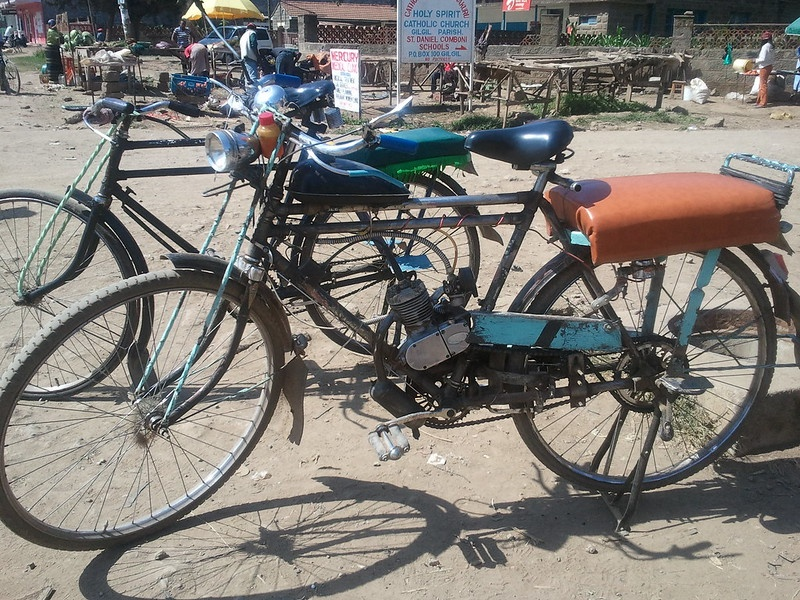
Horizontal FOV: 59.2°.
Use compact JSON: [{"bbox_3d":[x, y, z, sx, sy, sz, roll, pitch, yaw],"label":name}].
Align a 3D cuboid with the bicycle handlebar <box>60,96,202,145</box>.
[{"bbox_3d":[-1.381,-0.932,3.597,0.610,0.138,0.316,-3,21,-19],"label":"bicycle handlebar"}]
